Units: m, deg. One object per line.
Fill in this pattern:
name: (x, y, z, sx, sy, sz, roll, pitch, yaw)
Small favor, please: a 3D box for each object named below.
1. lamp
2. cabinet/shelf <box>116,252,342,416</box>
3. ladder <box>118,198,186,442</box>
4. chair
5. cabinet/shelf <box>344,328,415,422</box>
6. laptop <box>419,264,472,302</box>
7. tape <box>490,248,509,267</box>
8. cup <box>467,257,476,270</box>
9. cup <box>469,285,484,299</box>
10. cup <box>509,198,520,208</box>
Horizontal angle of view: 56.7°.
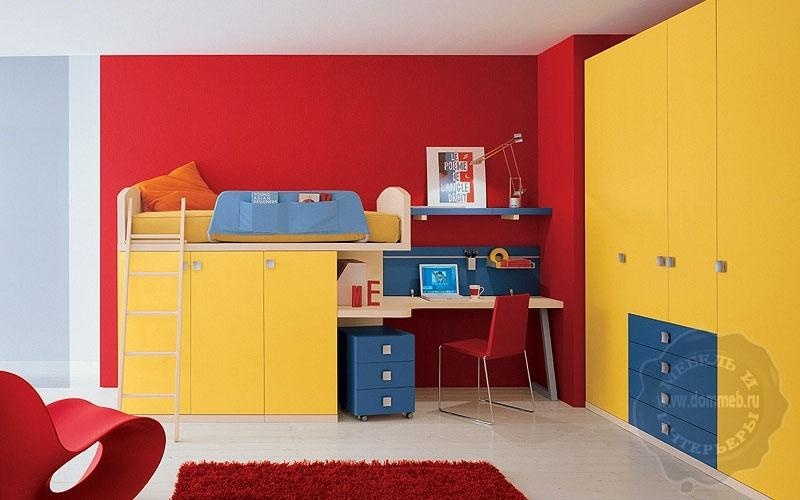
lamp: (1.065, -0.819, 7.690, 0.559, 0.778, 0.570, 0, 13, -2)
cabinet/shelf: (-1.545, 0.793, 7.220, 2.147, 1.637, 0.779, -1, -4, 10)
ladder: (-2.236, 0.583, 6.691, 0.656, 2.024, 1.045, -3, 13, -13)
chair: (0.866, 0.971, 7.285, 1.001, 1.204, 1.172, 2, 13, 4)
cabinet/shelf: (-0.333, 1.242, 7.350, 0.727, 0.749, 0.959, 2, -5, -33)
laptop: (0.522, 0.330, 7.593, 0.480, 0.369, 0.585, 2, 1, 39)
tape: (1.035, 0.077, 7.771, 0.183, 0.168, 0.041, 1, -12, 4)
cup: (0.740, 0.136, 7.768, 0.119, 0.158, 0.113, 0, -2, 0)
cup: (0.787, 0.437, 7.654, 0.149, 0.099, 0.098, 4, -6, -36)
cup: (1.194, -0.493, 7.756, 0.120, 0.105, 0.116, 0, -1, 0)
